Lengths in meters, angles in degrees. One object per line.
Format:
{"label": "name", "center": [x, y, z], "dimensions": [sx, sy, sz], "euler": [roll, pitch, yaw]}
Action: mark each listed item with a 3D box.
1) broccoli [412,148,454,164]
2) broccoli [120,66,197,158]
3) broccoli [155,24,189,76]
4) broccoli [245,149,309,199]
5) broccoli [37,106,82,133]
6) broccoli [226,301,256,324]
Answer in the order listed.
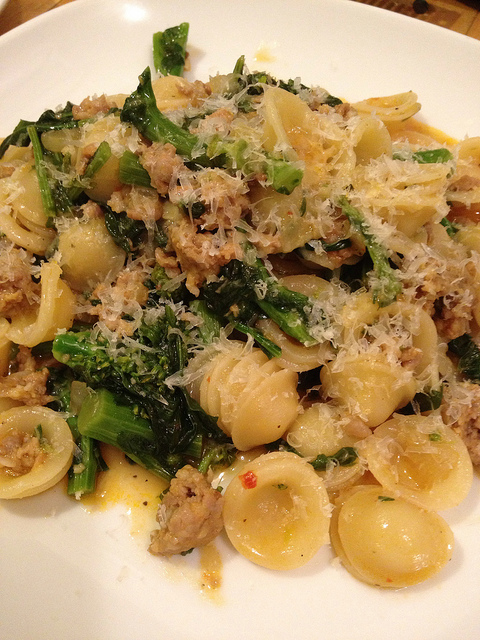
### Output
{"label": "broccoli", "center": [0.998, -0.850, 3.098], "dimensions": [0.163, 0.025, 0.091], "euler": [-13, 48, 0]}
{"label": "broccoli", "center": [-0.369, -1.004, 2.895], "dimensions": [0.542, 0.304, 0.259], "euler": [32, 49, 31]}
{"label": "broccoli", "center": [-0.445, -1.757, 3.898], "dimensions": [0.287, 0.116, 0.349], "euler": [-4, 80, -5]}
{"label": "broccoli", "center": [0.223, -0.690, 2.684], "dimensions": [0.302, 0.140, 0.073], "euler": [33, 92, 12]}
{"label": "broccoli", "center": [-0.985, -1.092, 3.297], "dimensions": [0.231, 0.073, 0.225], "euler": [9, 62, -10]}
{"label": "broccoli", "center": [0.014, -0.039, 2.941], "dimensions": [0.116, 0.107, 0.037], "euler": [31, 13, -13]}
